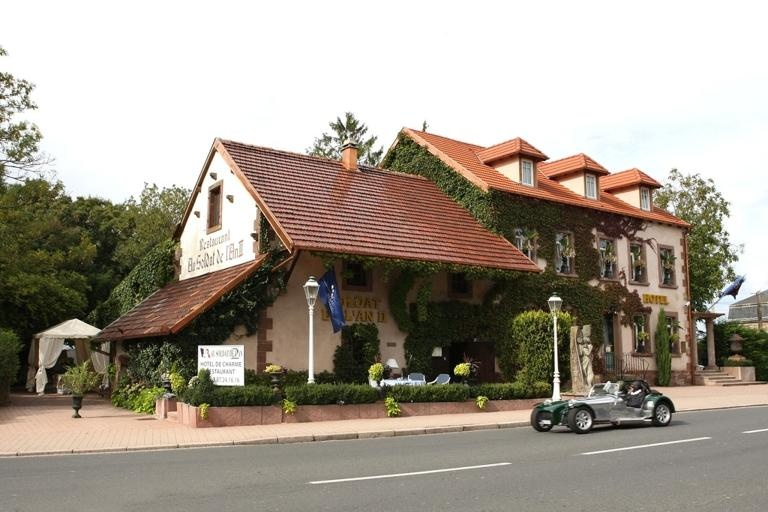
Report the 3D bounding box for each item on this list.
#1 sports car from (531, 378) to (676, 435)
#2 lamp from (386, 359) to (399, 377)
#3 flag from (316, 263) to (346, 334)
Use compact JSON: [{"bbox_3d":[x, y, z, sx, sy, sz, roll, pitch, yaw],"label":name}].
[{"bbox_3d":[7.243,5.029,23.367,4.660,1.767,1.161,5,-16,-18],"label":"sports car"},{"bbox_3d":[0.399,4.726,29.683,0.624,0.778,0.652,-3,-2,-18],"label":"lamp"},{"bbox_3d":[-2.190,1.718,28.637,1.016,2.620,0.492,1,-14,-8],"label":"flag"}]
